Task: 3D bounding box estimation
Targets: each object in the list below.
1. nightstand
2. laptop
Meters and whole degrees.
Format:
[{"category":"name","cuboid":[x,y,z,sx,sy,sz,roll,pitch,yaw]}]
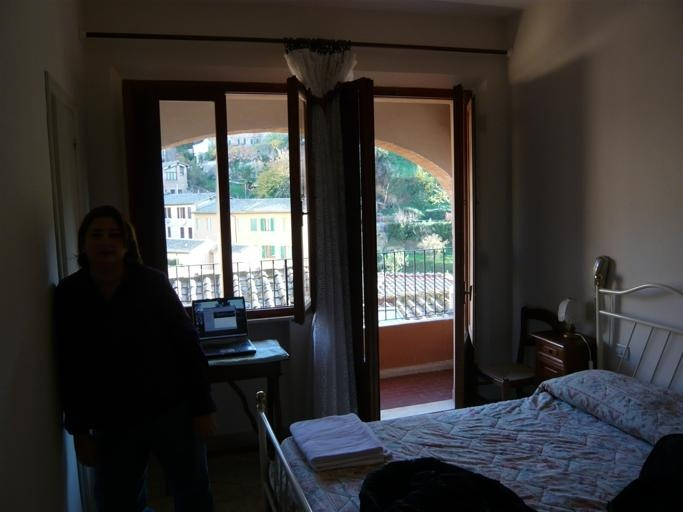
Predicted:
[{"category":"nightstand","cuboid":[1.609,0.629,3.964,0.308,0.488,0.477,-1,4,-11]},{"category":"laptop","cuboid":[-0.790,0.483,3.707,0.421,0.378,0.357,-2,5,-20]}]
